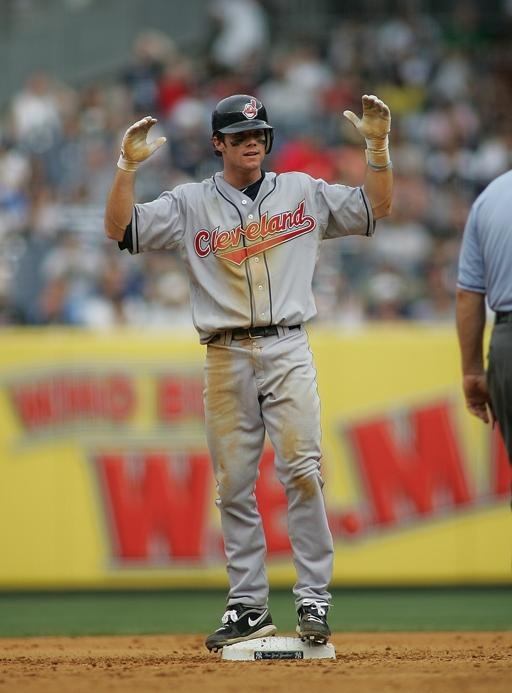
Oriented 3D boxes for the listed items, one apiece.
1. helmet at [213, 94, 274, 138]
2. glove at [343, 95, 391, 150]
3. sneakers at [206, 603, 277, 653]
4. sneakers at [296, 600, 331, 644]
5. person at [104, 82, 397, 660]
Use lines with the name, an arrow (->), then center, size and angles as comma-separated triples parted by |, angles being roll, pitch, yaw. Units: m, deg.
helmet -> -0.063, -0.842, 4.445 | 0.190, 0.127, 0.154 | -8, 28, -3
glove -> 0.412, -0.834, 4.448 | 0.154, 0.211, 0.207 | -3, 29, 8
sneakers -> -0.129, 1.053, 4.513 | 0.343, 0.152, 0.124 | -8, -16, -30
sneakers -> 0.207, 1.030, 4.413 | 0.127, 0.175, 0.173 | -6, 29, 3
person -> -0.032, 0.086, 4.509 | 1.015, 1.852, 1.115 | 1, 31, 15
